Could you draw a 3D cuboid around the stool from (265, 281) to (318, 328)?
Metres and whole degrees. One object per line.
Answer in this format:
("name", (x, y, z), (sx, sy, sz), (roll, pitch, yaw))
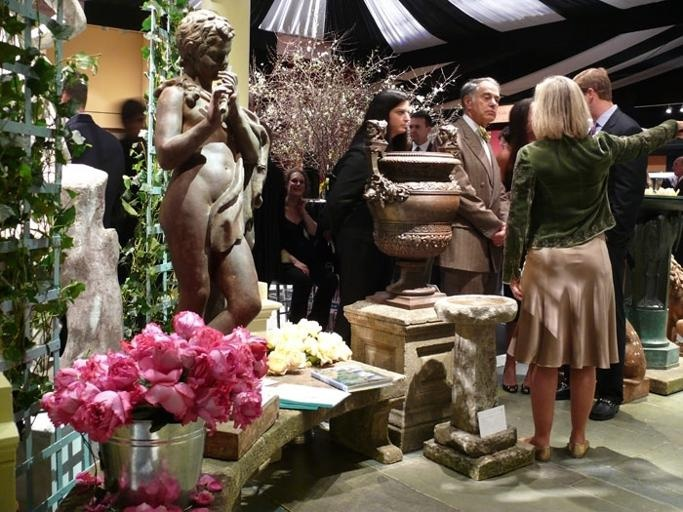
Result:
("stool", (-0.583, 0.459, 6.097), (0.367, 0.522, 0.355), (-5, 6, -34))

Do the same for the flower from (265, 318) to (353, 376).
("flower", (-0.205, 0.504, 2.949), (0.342, 0.169, 0.318), (-1, 13, -10))

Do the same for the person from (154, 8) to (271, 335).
("person", (-0.535, -0.365, 2.261), (0.462, 1.324, 0.406), (0, 7, -14))

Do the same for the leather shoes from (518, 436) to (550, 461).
("leather shoes", (1.114, 1.107, 3.154), (0.091, 0.089, 0.209), (-4, 11, -25))

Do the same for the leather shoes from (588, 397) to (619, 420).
("leather shoes", (1.829, 1.073, 3.728), (0.099, 0.115, 0.258), (-6, -13, 40))

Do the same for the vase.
("vase", (-0.552, 0.623, 1.643), (0.281, 0.253, 0.327), (-11, -16, 26))

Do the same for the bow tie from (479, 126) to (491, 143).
("bow tie", (1.022, -0.852, 3.862), (0.047, 0.111, 0.097), (-31, 19, 40))
